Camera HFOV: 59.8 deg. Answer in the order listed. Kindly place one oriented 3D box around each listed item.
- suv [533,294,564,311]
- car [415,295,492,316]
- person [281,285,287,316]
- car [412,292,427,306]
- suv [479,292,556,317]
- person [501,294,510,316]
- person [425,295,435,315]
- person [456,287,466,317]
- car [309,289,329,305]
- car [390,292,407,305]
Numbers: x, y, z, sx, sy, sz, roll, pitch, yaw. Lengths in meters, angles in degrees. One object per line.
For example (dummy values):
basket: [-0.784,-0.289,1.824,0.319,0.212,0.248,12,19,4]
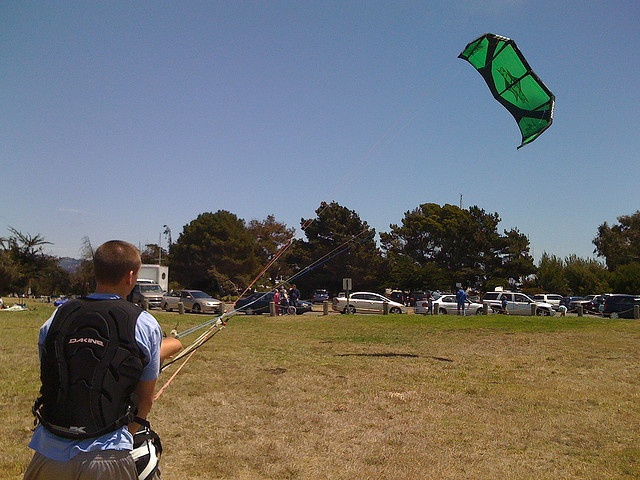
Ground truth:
suv: [16.603,4.591,40.625,2.686,1.170,1.328,-3,0,-5]
car: [7.934,4.073,34.396,3.978,1.239,2.220,-1,-2,17]
person: [-2.013,3.517,31.548,0.485,1.417,1.352,0,-1,-3]
car: [8.457,4.900,47.470,1.445,1.297,2.593,-1,-7,3]
suv: [12.403,4.455,34.945,3.954,1.982,2.136,-3,-3,20]
person: [11.418,3.992,34.584,0.378,1.152,0.930,0,-1,18]
person: [6.881,4.138,34.977,0.612,0.691,2.135,-1,-47,9]
person: [8.030,3.554,31.844,0.504,1.657,2.731,0,-1,13]
car: [-0.013,5.709,53.064,1.431,1.551,2.742,1,4,5]
car: [6.357,4.772,45.462,0.834,0.999,1.556,1,6,13]
